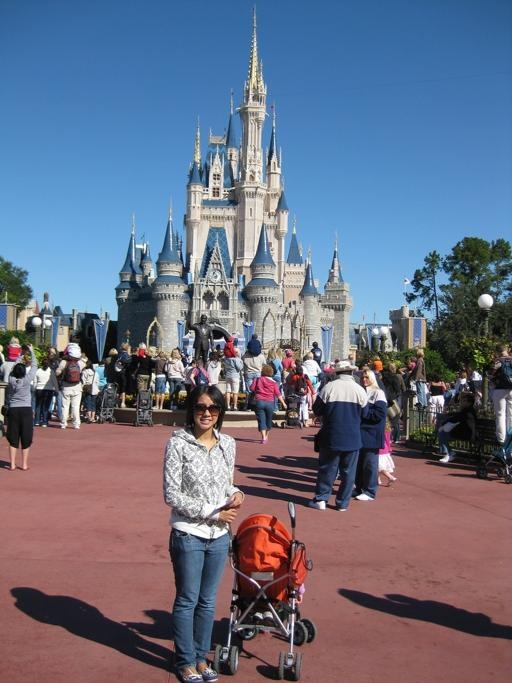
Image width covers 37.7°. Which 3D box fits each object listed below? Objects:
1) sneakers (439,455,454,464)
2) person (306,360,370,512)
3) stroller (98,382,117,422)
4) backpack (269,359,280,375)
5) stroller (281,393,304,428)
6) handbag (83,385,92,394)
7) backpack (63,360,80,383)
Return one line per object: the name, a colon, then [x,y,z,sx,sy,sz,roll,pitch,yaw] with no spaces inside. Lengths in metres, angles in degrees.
sneakers: [3.059,1.901,12.094,0.095,0.136,0.278,9,-10,-39]
person: [0.895,1.013,8.111,0.575,1.605,0.402,3,-4,7]
stroller: [-3.382,1.409,17.050,0.399,0.900,0.892,4,-4,-12]
backpack: [0.443,0.585,17.190,0.155,0.357,0.854,2,-4,10]
stroller: [0.853,1.604,17.325,0.540,0.980,0.611,0,-9,2]
handbag: [-3.726,1.060,16.549,0.173,0.225,0.185,-2,-5,0]
backpack: [-3.612,0.611,14.664,0.289,0.447,0.420,3,-11,-16]
